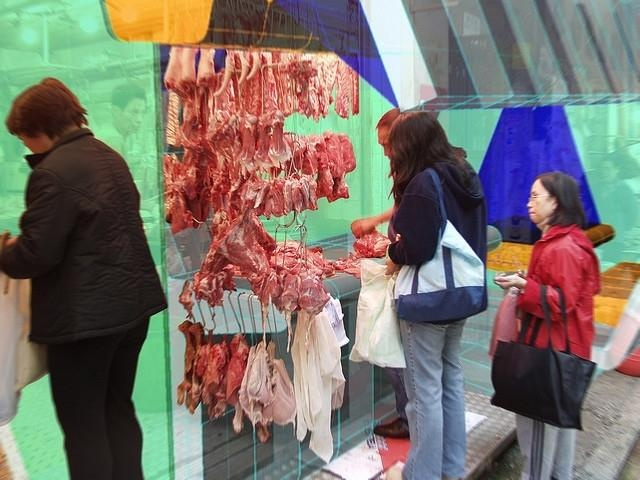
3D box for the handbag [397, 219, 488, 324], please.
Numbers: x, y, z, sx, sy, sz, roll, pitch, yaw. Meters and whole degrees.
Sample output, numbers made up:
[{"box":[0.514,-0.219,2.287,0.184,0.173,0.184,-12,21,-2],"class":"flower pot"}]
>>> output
[{"box":[0.543,0.139,2.403,0.476,0.547,0.322,-9,7,-6],"class":"handbag"}]
